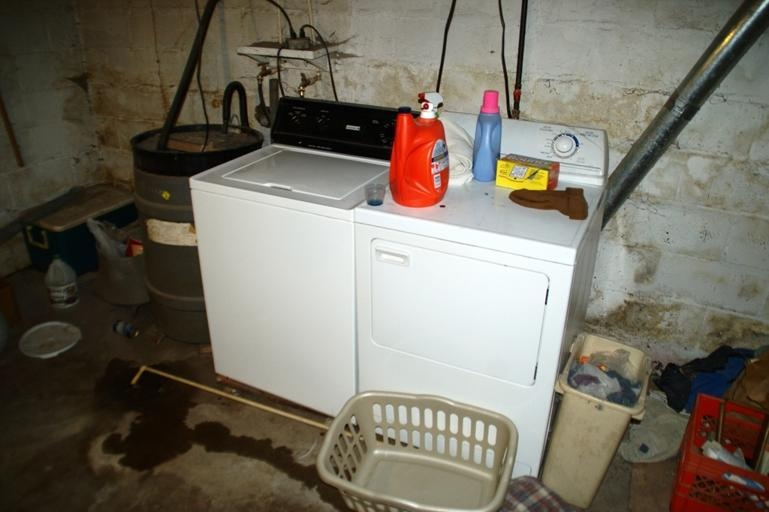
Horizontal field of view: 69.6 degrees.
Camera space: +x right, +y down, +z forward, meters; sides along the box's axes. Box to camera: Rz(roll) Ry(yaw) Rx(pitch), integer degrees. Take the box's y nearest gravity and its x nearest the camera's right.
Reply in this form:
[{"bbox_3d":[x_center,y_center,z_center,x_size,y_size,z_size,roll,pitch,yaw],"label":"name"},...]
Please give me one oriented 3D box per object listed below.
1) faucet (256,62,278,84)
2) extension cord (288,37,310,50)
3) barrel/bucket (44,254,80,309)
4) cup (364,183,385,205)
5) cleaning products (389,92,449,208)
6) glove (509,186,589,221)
[{"bbox_3d":[-0.731,-1.129,3.431,0.106,0.156,0.158,10,27,16],"label":"faucet"},{"bbox_3d":[-0.483,-1.212,3.136,0.087,0.035,0.090,10,24,20],"label":"extension cord"},{"bbox_3d":[-2.168,0.167,3.750,0.214,0.324,0.216,6,26,-3],"label":"barrel/bucket"},{"bbox_3d":[-0.052,-0.286,2.598,0.093,0.080,0.101,2,27,-1],"label":"cup"},{"bbox_3d":[0.165,-0.490,2.579,0.294,0.479,0.314,11,28,22],"label":"cleaning products"},{"bbox_3d":[0.761,-0.245,2.516,0.281,0.104,0.168,6,22,8],"label":"glove"}]
